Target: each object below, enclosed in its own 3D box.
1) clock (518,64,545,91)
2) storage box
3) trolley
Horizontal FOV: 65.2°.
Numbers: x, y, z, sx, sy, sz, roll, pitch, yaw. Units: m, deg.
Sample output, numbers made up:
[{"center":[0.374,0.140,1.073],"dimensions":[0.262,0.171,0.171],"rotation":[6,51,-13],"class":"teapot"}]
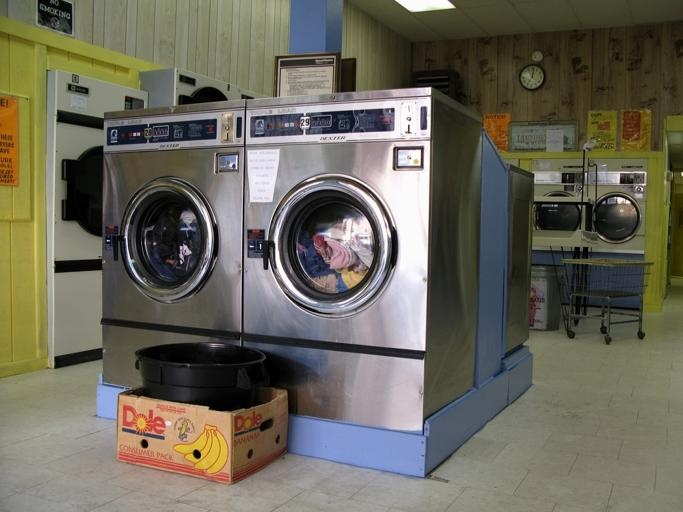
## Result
[{"center":[3.043,-2.853,8.555],"dimensions":[0.406,0.486,0.074],"rotation":[2,-1,38],"class":"clock"},{"center":[-0.706,0.820,2.638],"dimensions":[0.615,0.315,0.464],"rotation":[3,-1,22],"class":"storage box"},{"center":[3.618,0.585,6.945],"dimensions":[0.716,0.753,0.490],"rotation":[0,-12,41],"class":"trolley"}]
